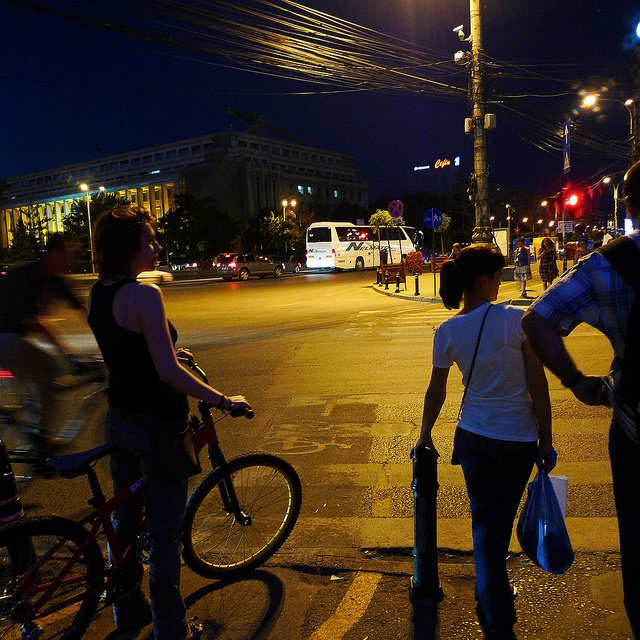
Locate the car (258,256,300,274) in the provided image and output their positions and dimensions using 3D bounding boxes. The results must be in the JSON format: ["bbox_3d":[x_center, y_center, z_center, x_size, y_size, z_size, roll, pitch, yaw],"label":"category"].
[{"bbox_3d":[-2.196,-3.443,39.918,2.210,0.875,0.994,-6,10,-37],"label":"car"}]

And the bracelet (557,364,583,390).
[{"bbox_3d":[0.898,0.206,2.248,0.070,0.025,0.072,-56,-2,38],"label":"bracelet"}]

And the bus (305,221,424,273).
[{"bbox_3d":[3.522,-4.814,42.880,2.963,3.471,9.380,6,12,43],"label":"bus"}]

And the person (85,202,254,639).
[{"bbox_3d":[-0.757,0.494,2.926,0.578,2.053,0.371,-1,6,27],"label":"person"}]

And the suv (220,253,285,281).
[{"bbox_3d":[-4.060,-3.160,37.131,3.182,1.366,1.493,-14,14,-43],"label":"suv"}]

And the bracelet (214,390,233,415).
[{"bbox_3d":[-0.463,0.392,3.014,0.061,0.082,0.119,1,38,6],"label":"bracelet"}]
